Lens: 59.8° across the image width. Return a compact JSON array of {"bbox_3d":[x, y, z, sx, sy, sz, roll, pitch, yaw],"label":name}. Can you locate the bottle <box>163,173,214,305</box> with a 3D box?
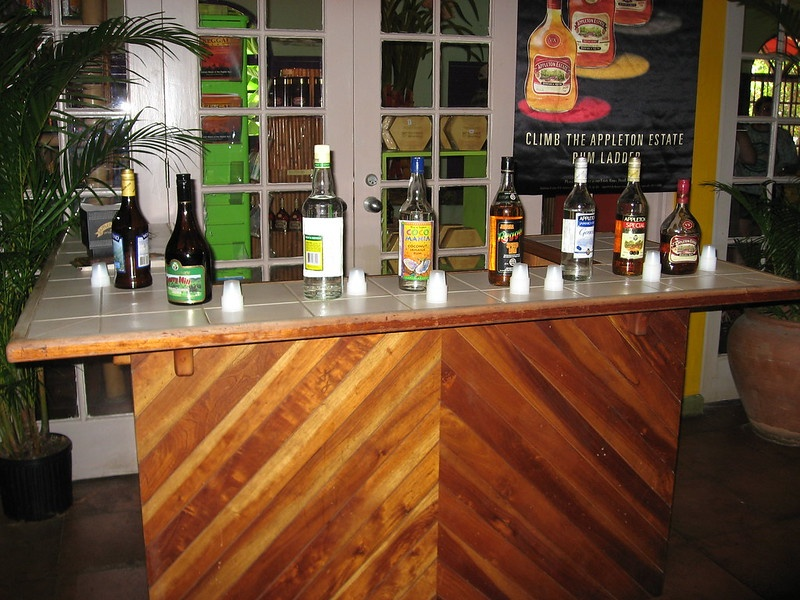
[{"bbox_3d":[-0.629,-0.182,2.034,0.127,0.371,0.189,-4,13,-9],"label":"bottle"}]

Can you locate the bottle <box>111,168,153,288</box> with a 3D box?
[{"bbox_3d":[-0.842,-0.221,2.148,0.115,0.360,0.152,-7,13,-21],"label":"bottle"}]
